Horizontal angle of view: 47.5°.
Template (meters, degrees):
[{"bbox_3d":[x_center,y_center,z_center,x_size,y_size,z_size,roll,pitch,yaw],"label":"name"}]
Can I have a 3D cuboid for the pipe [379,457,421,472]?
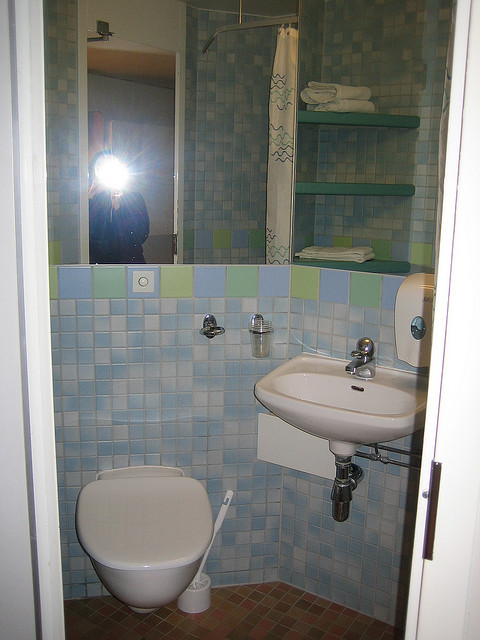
[{"bbox_3d":[0.495,0.450,1.688,0.112,0.049,0.080,7,10,29],"label":"pipe"}]

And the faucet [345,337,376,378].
[{"bbox_3d":[0.369,0.116,1.661,0.063,0.131,0.125,9,13,42],"label":"faucet"}]

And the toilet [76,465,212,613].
[{"bbox_3d":[-0.306,0.728,1.681,0.392,0.329,0.548,4,7,-13],"label":"toilet"}]

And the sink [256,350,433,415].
[{"bbox_3d":[0.307,0.208,1.616,0.471,0.135,0.441,6,10,25],"label":"sink"}]

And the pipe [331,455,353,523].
[{"bbox_3d":[0.314,0.513,1.689,0.062,0.247,0.151,3,8,13],"label":"pipe"}]
